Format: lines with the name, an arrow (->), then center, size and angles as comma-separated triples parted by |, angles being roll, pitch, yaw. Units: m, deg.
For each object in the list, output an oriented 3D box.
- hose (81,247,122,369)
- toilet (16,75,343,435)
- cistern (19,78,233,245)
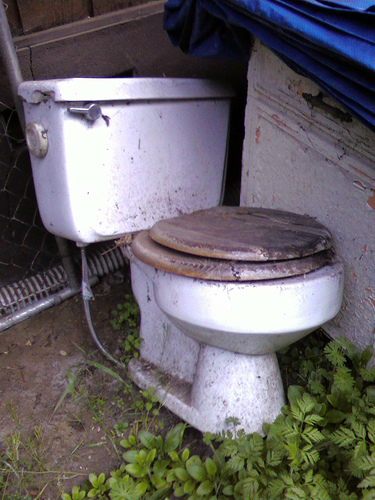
hose -> -0.284, 0.109, 1.297 | 0.031, 0.270, 0.029 | -22, 34, -31
toilet -> 0.008, -0.007, 1.111 | 0.543, 0.793, 0.790 | -13, 22, -34
cistern -> -0.171, -0.271, 1.276 | 0.537, 0.381, 0.344 | -17, 23, -41
